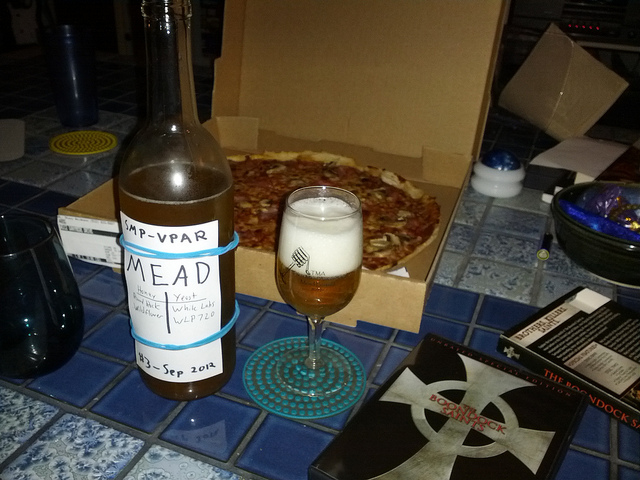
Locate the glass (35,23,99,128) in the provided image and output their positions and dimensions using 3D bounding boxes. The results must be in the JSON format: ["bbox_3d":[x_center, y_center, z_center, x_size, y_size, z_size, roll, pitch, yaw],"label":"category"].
[{"bbox_3d":[-0.710,-0.449,1.419,0.162,0.246,0.158,10,21,43],"label":"glass"}]

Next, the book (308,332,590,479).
[{"bbox_3d":[0.173,0.237,0.629,0.268,0.022,0.277,21,41,21],"label":"book"}]

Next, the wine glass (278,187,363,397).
[{"bbox_3d":[-0.006,0.073,0.701,0.140,0.255,0.132,-12,26,-33],"label":"wine glass"}]
